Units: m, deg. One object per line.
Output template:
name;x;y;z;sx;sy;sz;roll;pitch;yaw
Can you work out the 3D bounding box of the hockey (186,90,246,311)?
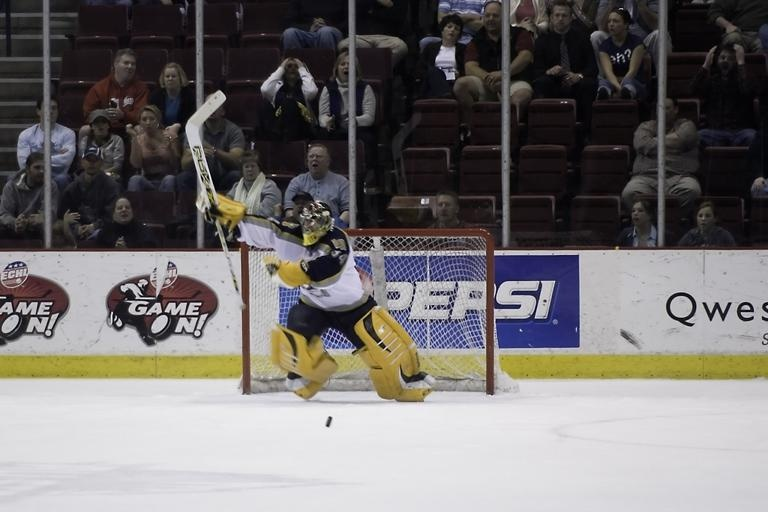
hockey;-1.628;-0.495;13.590;0.603;2.067;0.573;-1;-2;31
